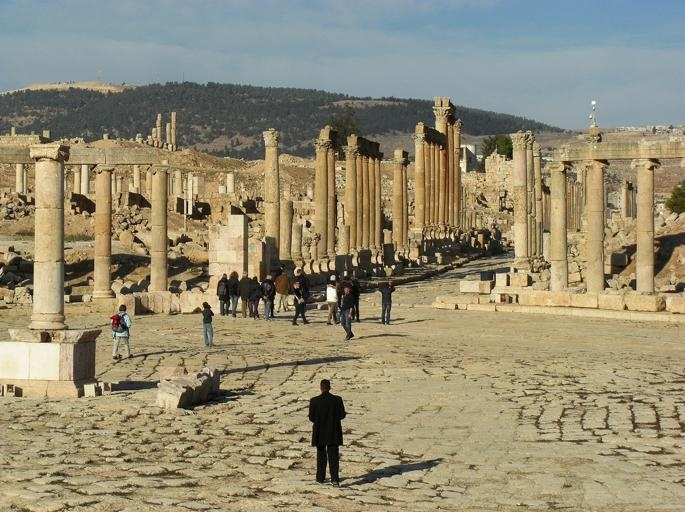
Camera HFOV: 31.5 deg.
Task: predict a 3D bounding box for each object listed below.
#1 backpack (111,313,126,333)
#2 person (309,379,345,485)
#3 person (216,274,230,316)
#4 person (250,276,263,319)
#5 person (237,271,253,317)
[{"bbox_3d":[-5.128,1.576,27.790,0.427,0.417,0.334,-1,2,14],"label":"backpack"},{"bbox_3d":[-0.233,2.937,20.005,0.576,1.616,0.616,0,7,-2],"label":"person"},{"bbox_3d":[-3.490,1.204,36.028,0.358,1.157,0.862,-1,7,-6],"label":"person"},{"bbox_3d":[-2.460,1.288,35.116,0.333,1.151,0.575,-1,7,-5],"label":"person"},{"bbox_3d":[-2.814,1.230,35.362,0.343,1.195,0.943,-1,7,-6],"label":"person"}]
